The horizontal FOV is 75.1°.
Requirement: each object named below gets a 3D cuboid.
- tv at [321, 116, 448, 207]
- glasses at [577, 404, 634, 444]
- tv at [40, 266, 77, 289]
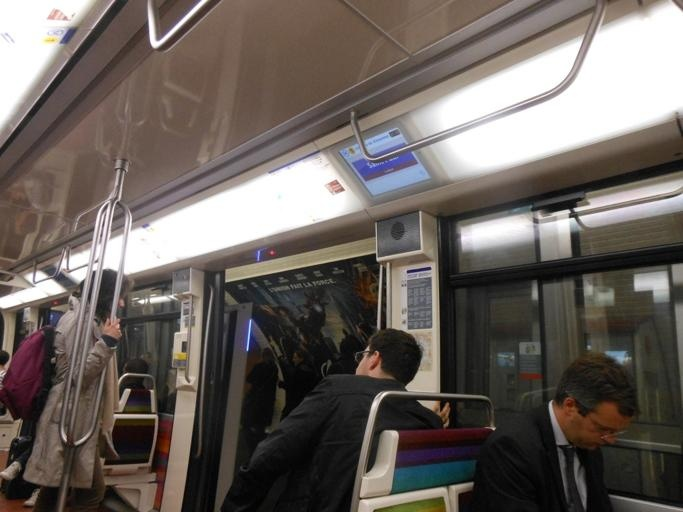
[{"bbox_3d":[0.339,-0.721,3.251,0.598,0.078,0.810,-17,-41,28],"label":"tv"},{"bbox_3d":[1.348,0.856,2.294,0.233,0.222,0.132,-9,-14,28],"label":"glasses"},{"bbox_3d":[-4.422,0.300,6.990,0.405,0.107,0.382,25,-18,-2],"label":"tv"}]
